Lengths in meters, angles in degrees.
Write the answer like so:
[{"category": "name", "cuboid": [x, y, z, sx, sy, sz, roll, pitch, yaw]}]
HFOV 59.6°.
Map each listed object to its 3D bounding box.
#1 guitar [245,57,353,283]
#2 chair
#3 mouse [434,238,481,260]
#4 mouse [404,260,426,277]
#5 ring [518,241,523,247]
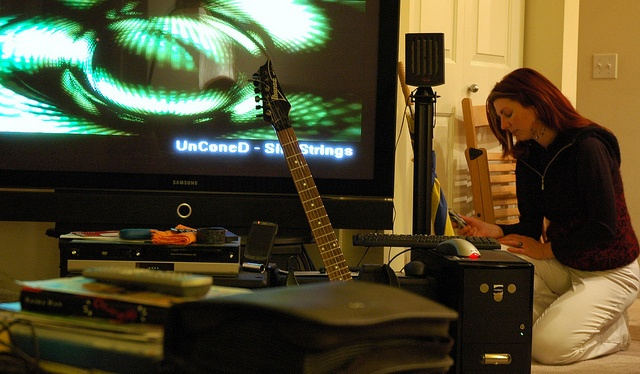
[{"category": "guitar", "cuboid": [-0.120, -0.114, 2.714, 0.181, 1.130, 0.156, -23, -5, -14]}, {"category": "chair", "cuboid": [1.338, -0.077, 3.812, 0.667, 0.991, 0.660, -3, 11, 13]}, {"category": "mouse", "cuboid": [0.610, 0.264, 2.409, 0.086, 0.041, 0.138, 1, 5, -38]}, {"category": "mouse", "cuboid": [0.423, 0.367, 2.478, 0.089, 0.063, 0.066, -2, 3, -4]}, {"category": "ring", "cuboid": [1.116, 0.318, 3.098, 0.020, 0.022, 0.008, 10, -16, 3]}]
